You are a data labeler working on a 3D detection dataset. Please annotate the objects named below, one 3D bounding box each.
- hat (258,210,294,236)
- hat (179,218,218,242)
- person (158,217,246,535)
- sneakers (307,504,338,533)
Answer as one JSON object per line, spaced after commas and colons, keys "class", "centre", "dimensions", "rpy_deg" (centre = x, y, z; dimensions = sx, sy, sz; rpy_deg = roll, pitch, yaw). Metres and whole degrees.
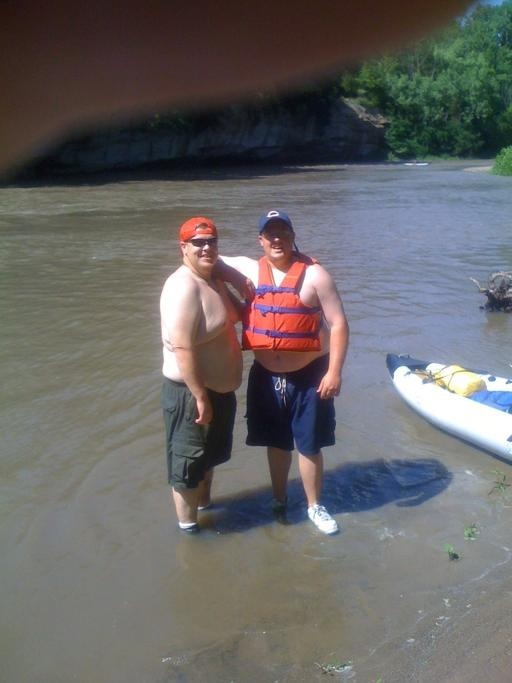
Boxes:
{"class": "hat", "centre": [0.085, -0.616, 3.108], "dimensions": [0.187, 0.111, 0.273], "rpy_deg": [-1, -4, -2]}
{"class": "hat", "centre": [-0.278, -0.542, 2.949], "dimensions": [0.165, 0.111, 0.225], "rpy_deg": [-1, 11, -2]}
{"class": "person", "centre": [-0.278, 0.226, 3.050], "dimensions": [0.402, 1.659, 0.538], "rpy_deg": [-1, 13, 0]}
{"class": "sneakers", "centre": [0.348, 0.950, 3.302], "dimensions": [0.082, 0.096, 0.227], "rpy_deg": [-40, 7, -14]}
